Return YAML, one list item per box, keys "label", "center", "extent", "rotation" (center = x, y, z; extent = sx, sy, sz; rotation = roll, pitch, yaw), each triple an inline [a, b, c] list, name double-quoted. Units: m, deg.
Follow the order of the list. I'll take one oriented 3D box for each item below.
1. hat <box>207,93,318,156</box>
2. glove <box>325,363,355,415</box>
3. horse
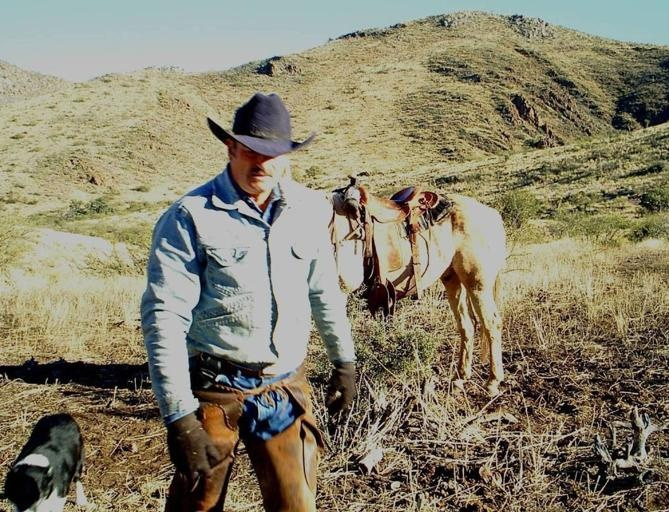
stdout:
- label: "hat"
  center: [-0.614, -1.096, 5.922]
  extent: [0.574, 0.290, 0.655]
  rotation: [5, 11, -20]
- label: "glove"
  center: [0.062, 1.170, 6.202]
  extent: [0.289, 0.415, 0.153]
  rotation: [-9, -18, 31]
- label: "horse"
  center: [0.670, 0.301, 8.794]
  extent: [3.302, 2.433, 0.877]
  rotation: [1, -2, -22]
